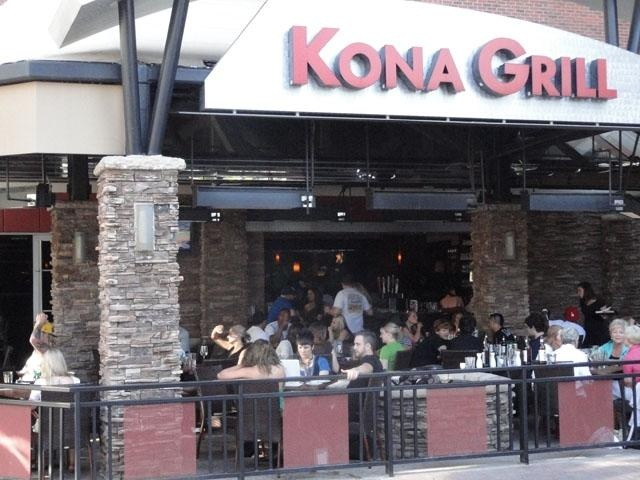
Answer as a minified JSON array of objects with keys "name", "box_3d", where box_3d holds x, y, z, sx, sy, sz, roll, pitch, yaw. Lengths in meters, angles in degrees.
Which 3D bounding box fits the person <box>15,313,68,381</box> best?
[{"name":"person","box_3d":[-3.987,1.511,17.020,0.525,0.974,0.963,-1,-7,-20]}]

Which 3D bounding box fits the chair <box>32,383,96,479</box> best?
[{"name":"chair","box_3d":[-3.457,2.570,16.181,0.834,1.176,1.976,-2,-6,-11]}]

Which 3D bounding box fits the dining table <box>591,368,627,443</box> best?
[{"name":"dining table","box_3d":[4.128,2.284,17.020,0.480,1.042,1.387,-5,-6,13]}]

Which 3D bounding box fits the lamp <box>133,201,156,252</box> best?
[{"name":"lamp","box_3d":[-2.456,-0.177,16.724,0.274,0.675,0.079,-2,-7,-16]}]

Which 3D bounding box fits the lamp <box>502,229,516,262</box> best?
[{"name":"lamp","box_3d":[3.436,0.091,21.761,0.217,0.510,0.126,-3,-6,-1]}]

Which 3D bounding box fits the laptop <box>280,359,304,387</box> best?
[{"name":"laptop","box_3d":[-0.401,1.840,16.774,0.388,0.359,0.310,1,-5,-3]}]

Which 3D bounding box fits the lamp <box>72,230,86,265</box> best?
[{"name":"lamp","box_3d":[-3.910,0.123,19.447,0.198,0.499,0.125,-2,-7,-12]}]
